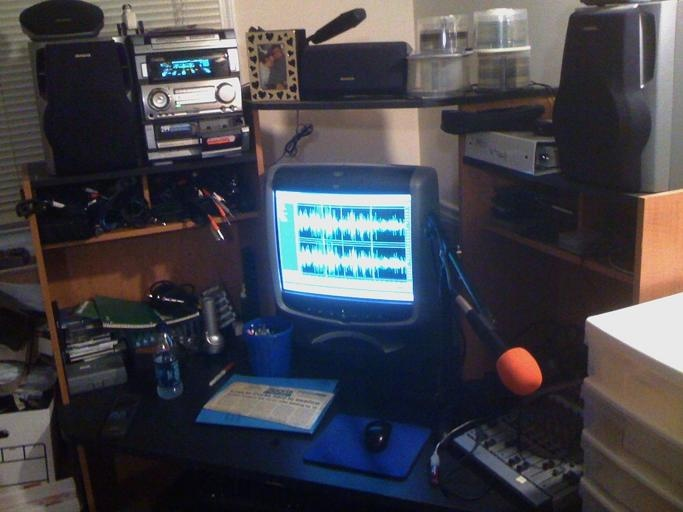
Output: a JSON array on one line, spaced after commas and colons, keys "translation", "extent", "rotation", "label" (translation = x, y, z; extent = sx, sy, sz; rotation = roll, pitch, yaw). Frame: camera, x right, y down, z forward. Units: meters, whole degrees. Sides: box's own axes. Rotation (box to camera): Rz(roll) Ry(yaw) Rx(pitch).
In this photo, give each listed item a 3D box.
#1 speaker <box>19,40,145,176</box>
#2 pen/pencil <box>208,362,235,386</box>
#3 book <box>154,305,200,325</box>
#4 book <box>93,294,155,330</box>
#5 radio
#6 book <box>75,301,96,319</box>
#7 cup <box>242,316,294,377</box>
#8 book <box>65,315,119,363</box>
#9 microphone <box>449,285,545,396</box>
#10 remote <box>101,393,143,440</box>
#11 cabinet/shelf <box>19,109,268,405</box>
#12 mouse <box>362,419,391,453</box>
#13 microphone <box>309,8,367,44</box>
[{"translation": [-0.821, -0.481, 1.894], "extent": [0.312, 0.417, 0.085], "rotation": [-14, 21, -18], "label": "speaker"}, {"translation": [-0.401, 0.395, 1.951], "extent": [0.021, 0.028, 0.150], "rotation": [44, 12, -2], "label": "pen/pencil"}, {"translation": [-0.587, 0.222, 2.133], "extent": [0.082, 0.020, 0.083], "rotation": [14, 20, 42], "label": "book"}, {"translation": [-0.797, 0.210, 2.155], "extent": [0.146, 0.023, 0.168], "rotation": [14, 14, -19], "label": "book"}, {"translation": [-0.538, -0.657, 2.038], "extent": [0.349, 0.304, 0.213], "rotation": [-13, 36, -21], "label": "radio"}, {"translation": [-0.925, 0.187, 2.126], "extent": [0.085, 0.048, 0.079], "rotation": [-2, 24, -34], "label": "book"}, {"translation": [-0.260, 0.310, 1.957], "extent": [0.164, 0.180, 0.179], "rotation": [-2, 12, 0], "label": "cup"}, {"translation": [-0.892, 0.287, 2.032], "extent": [0.146, 0.046, 0.149], "rotation": [-9, 42, -31], "label": "book"}, {"translation": [0.322, 0.171, 1.399], "extent": [0.097, 0.098, 0.382], "rotation": [16, 35, -38], "label": "microphone"}, {"translation": [-0.665, 0.500, 1.794], "extent": [0.109, 0.064, 0.111], "rotation": [-6, 10, 11], "label": "remote"}, {"translation": [-0.724, 0.002, 2.069], "extent": [0.874, 0.955, 0.302], "rotation": [-12, 24, -16], "label": "cabinet/shelf"}, {"translation": [0.096, 0.485, 1.599], "extent": [0.071, 0.050, 0.099], "rotation": [3, 24, 24], "label": "mouse"}, {"translation": [-0.023, -0.792, 2.009], "extent": [0.110, 0.097, 0.221], "rotation": [-21, 25, -32], "label": "microphone"}]
